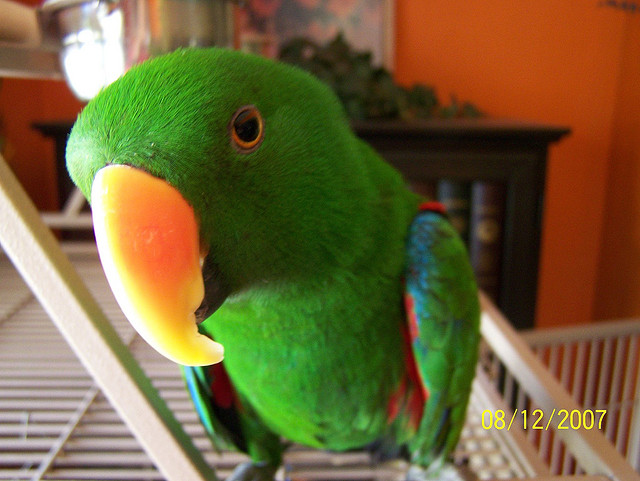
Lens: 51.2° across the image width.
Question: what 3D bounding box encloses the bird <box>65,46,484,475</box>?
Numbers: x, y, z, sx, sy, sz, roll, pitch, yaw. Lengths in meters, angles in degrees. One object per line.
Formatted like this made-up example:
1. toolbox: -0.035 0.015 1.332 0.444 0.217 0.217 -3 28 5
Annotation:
1. bird: -0.029 0.022 0.875 0.324 0.453 0.573 -13 3 32

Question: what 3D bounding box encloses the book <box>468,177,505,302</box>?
1. book: 0.176 -0.007 0.702 0.044 0.146 0.098 1 14 10

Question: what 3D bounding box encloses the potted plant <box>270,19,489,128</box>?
1. potted plant: 0.042 -0.175 0.706 0.116 0.104 0.285 -8 16 -27
